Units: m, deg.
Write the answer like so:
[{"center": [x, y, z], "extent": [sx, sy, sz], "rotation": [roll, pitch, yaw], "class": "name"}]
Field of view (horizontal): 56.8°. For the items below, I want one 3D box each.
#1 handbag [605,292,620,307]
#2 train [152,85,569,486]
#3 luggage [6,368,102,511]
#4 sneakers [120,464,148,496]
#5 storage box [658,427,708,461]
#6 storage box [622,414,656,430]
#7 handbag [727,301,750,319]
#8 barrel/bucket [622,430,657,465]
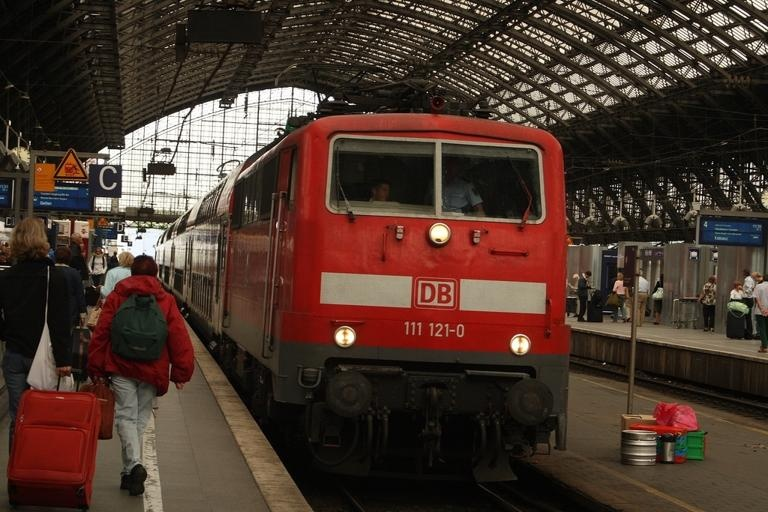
[{"center": [10.626, 1.992, 33.130], "extent": [0.781, 0.631, 0.609], "rotation": [2, -3, -6], "class": "handbag"}, {"center": [-0.522, 0.360, 9.998], "extent": [2.905, 5.353, 5.777], "rotation": [4, -3, -37], "class": "train"}, {"center": [-2.900, 1.624, 6.212], "extent": [0.874, 1.225, 0.639], "rotation": [6, -23, -8], "class": "luggage"}, {"center": [-2.404, 2.157, 6.814], "extent": [0.143, 0.206, 0.446], "rotation": [5, -43, -20], "class": "sneakers"}, {"center": [4.531, 2.856, 10.888], "extent": [0.632, 0.479, 0.516], "rotation": [1, -5, -19], "class": "storage box"}, {"center": [3.931, 2.578, 11.219], "extent": [0.357, 0.259, 0.377], "rotation": [1, -3, -7], "class": "storage box"}, {"center": [12.753, 1.942, 25.723], "extent": [0.486, 0.269, 0.642], "rotation": [2, 1, -2], "class": "handbag"}, {"center": [3.757, 2.819, 10.649], "extent": [0.451, 0.458, 0.500], "rotation": [1, -5, -4], "class": "barrel/bucket"}]
